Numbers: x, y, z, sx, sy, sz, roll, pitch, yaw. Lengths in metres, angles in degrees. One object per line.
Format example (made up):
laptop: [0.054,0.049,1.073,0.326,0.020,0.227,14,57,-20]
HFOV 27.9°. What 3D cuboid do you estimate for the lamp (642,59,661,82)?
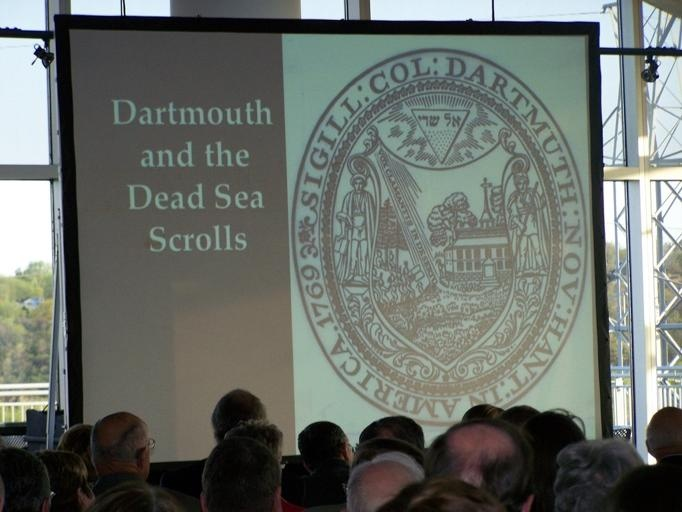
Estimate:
lamp: [2.970,-1.786,13.296,0.192,0.254,0.060,1,-7,-13]
